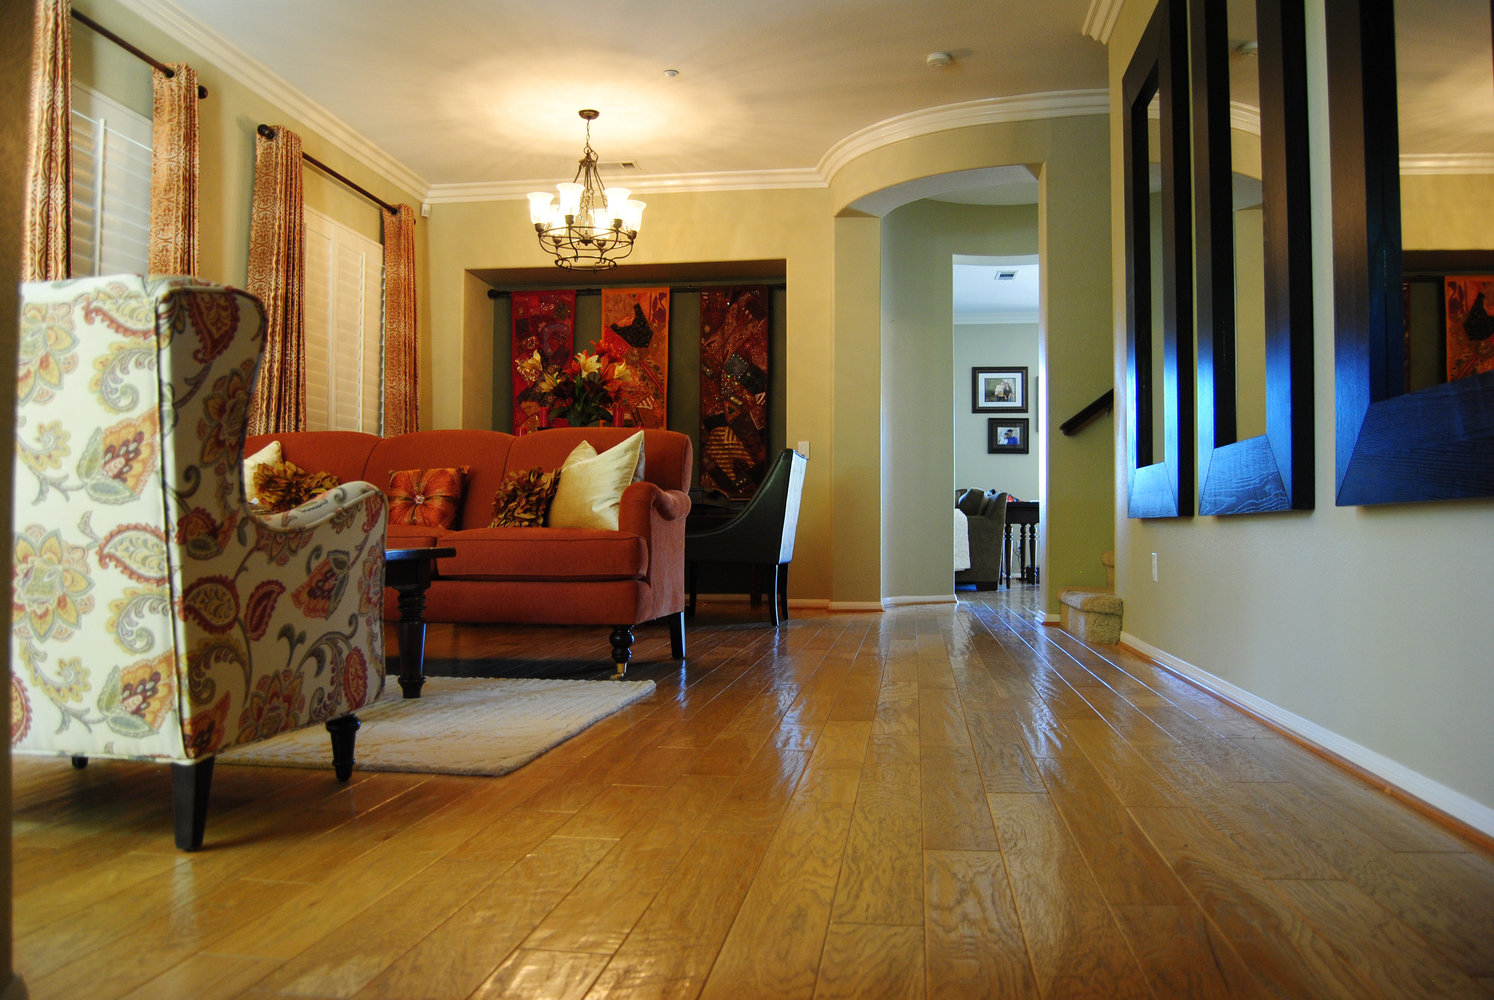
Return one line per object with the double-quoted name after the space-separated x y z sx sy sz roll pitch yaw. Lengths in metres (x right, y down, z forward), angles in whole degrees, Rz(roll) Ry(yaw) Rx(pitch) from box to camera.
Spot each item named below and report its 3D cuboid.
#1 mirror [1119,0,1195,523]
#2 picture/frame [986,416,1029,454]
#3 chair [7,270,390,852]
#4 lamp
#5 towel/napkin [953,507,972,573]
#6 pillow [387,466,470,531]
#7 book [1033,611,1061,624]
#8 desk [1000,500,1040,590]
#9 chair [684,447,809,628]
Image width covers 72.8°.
1.786 -1.006 4.385 0.223 2.198 1.083 1 4 17 "mirror"
2.932 -0.708 11.320 0.390 0.379 0.030 1 -1 -1 "picture/frame"
-1.265 0.038 2.280 0.752 1.028 0.359 -2 5 -23 "chair"
-0.967 -1.868 6.031 0.731 0.937 0.759 1 2 5 "lamp"
1.830 0.360 8.544 0.109 0.530 0.448 1 4 15 "towel/napkin"
-1.506 0.007 4.683 0.260 0.273 0.100 0 -32 7 "pillow"
1.764 0.686 5.869 0.108 0.069 0.186 0 4 7 "book"
2.524 0.361 9.334 0.464 0.629 0.657 0 1 13 "desk"
-0.131 0.206 5.898 0.909 1.265 0.864 1 -3 5 "chair"
